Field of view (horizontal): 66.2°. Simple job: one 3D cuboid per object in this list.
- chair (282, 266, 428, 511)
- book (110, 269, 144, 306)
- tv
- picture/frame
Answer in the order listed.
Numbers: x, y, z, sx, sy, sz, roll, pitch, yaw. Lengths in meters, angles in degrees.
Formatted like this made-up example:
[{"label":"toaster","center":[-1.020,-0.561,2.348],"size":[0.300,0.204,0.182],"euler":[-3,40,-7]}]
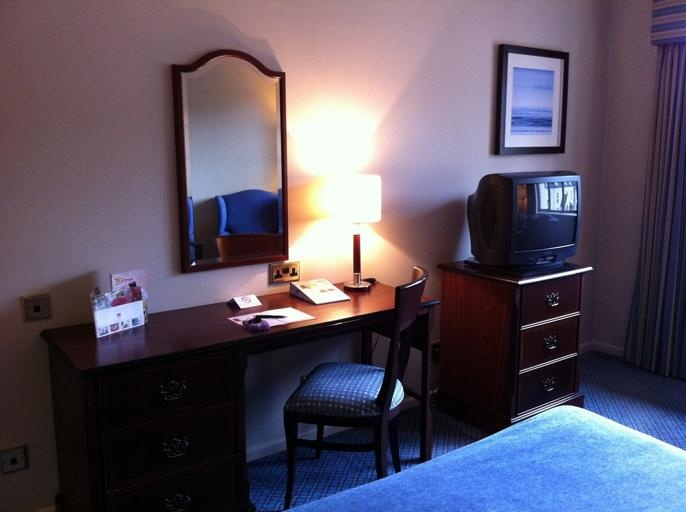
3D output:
[{"label":"chair","center":[-0.001,0.642,3.355],"size":[0.983,1.820,0.980],"euler":[3,3,8]},{"label":"book","center":[-1.017,0.153,2.467],"size":[0.018,0.169,0.162],"euler":[-3,-2,40]},{"label":"tv","center":[1.166,-0.245,3.466],"size":[0.683,0.602,0.502],"euler":[-5,12,-31]},{"label":"picture/frame","center":[1.414,-1.156,3.897],"size":[0.051,0.740,0.728],"euler":[-12,22,-19]}]
